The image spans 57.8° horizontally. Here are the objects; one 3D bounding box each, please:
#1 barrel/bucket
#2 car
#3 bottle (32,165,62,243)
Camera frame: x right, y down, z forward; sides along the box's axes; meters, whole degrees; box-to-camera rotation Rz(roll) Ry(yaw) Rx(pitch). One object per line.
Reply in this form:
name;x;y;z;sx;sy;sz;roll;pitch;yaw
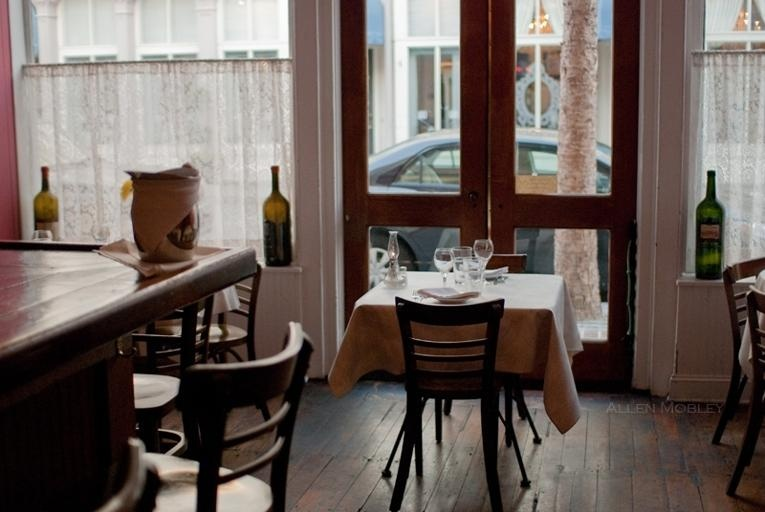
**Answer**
barrel/bucket;-0.733;-0.166;2.575;0.248;0.361;0.308;2;7;8
car;0.742;-0.407;5.362;1.768;0.924;0.969;-3;5;-1
bottle;-2.581;-0.410;5.328;0.285;0.558;0.154;9;15;42
